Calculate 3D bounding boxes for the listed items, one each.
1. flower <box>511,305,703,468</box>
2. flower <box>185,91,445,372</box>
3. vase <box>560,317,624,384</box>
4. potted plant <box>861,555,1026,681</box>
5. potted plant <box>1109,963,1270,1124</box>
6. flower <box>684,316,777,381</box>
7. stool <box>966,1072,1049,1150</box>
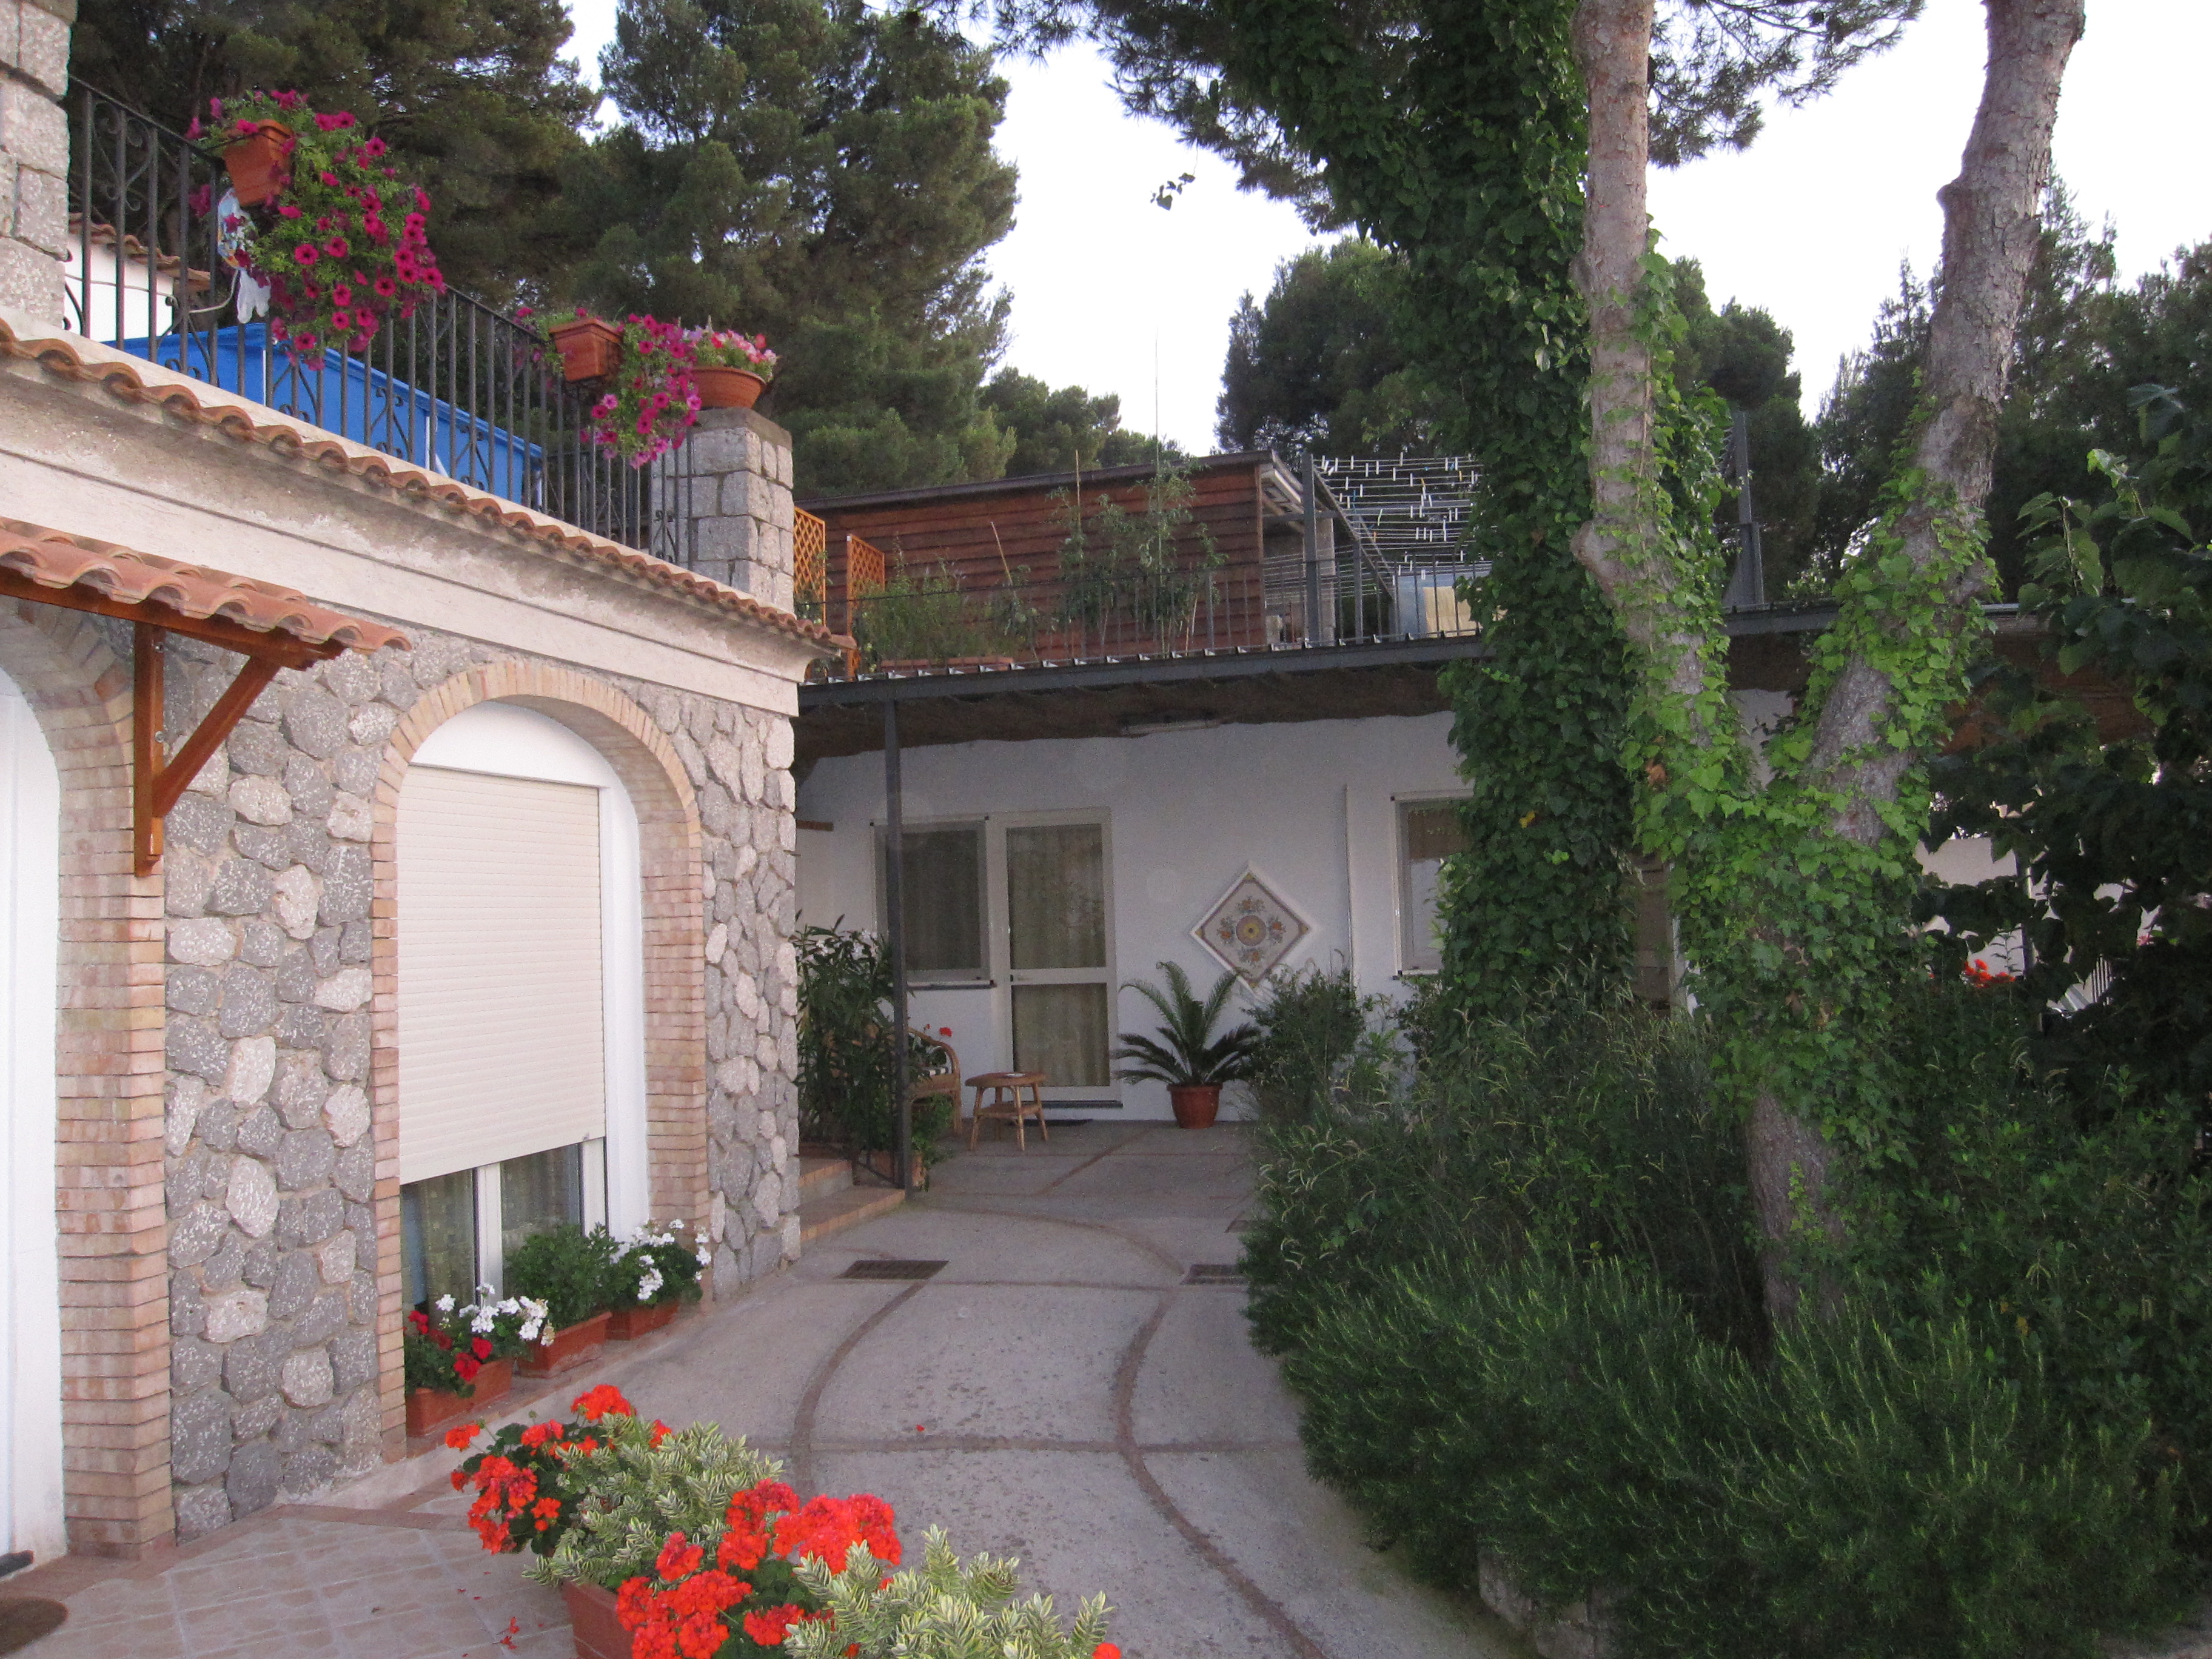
[{"bbox_3d":[-2.606,-2.358,11.622,0.942,0.796,0.384,-4,6,-30],"label":"flower"},{"bbox_3d":[-3.537,-2.837,9.833,0.749,1.277,1.087,-14,-21,26],"label":"flower"},{"bbox_3d":[-2.743,-2.525,11.506,0.311,0.289,0.290,3,10,19],"label":"vase"},{"bbox_3d":[-1.254,-1.693,17.268,1.335,0.762,1.931,0,5,13],"label":"potted plant"},{"bbox_3d":[0.629,1.697,16.655,1.022,1.039,1.122,-2,-11,13],"label":"potted plant"},{"bbox_3d":[-2.086,-2.662,12.242,0.519,0.369,0.591,12,9,25],"label":"flower"},{"bbox_3d":[-0.706,2.122,16.510,0.489,0.558,0.571,-2,-1,23],"label":"stool"}]
